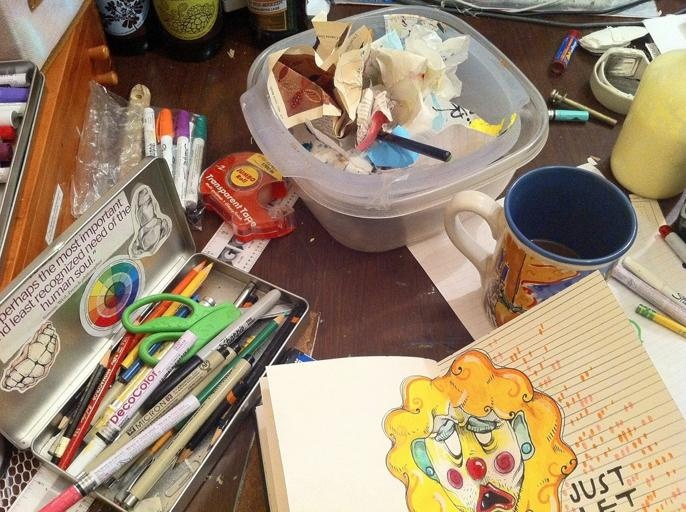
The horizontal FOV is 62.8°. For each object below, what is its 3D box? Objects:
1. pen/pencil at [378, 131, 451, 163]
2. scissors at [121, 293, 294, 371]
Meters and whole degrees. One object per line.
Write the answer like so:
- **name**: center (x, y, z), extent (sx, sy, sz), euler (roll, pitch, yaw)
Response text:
- **pen/pencil**: center (0.084, -0.130, 0.678), extent (0.083, 0.015, 0.015), euler (25, 97, 26)
- **scissors**: center (-0.168, 0.076, 0.639), extent (0.151, 0.013, 0.074), euler (-18, 55, -22)
